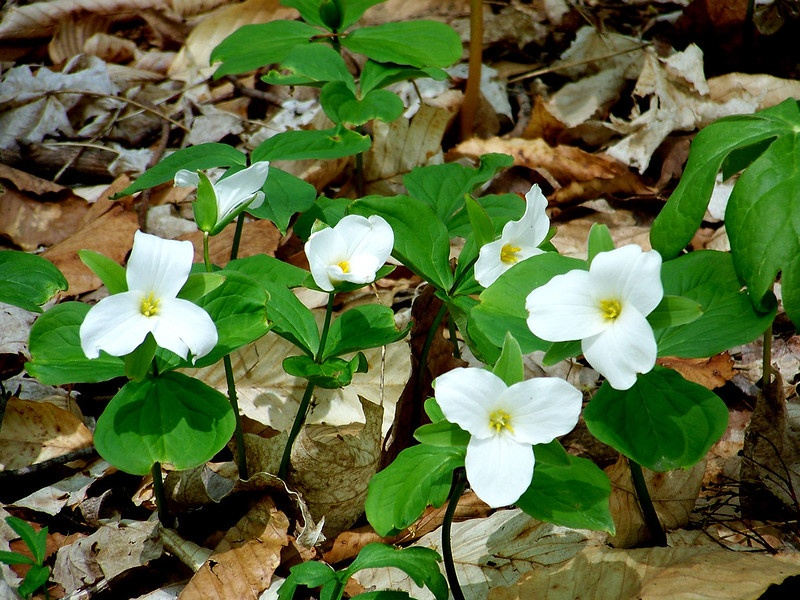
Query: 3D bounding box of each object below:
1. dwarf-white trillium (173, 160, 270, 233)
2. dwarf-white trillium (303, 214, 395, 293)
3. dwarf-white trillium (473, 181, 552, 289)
[{"bbox_3d":[-0.868,-0.428,4.003,0.352,0.355,0.247,4,81,7],"label":"dwarf-white trillium"},{"bbox_3d":[-0.247,-0.267,3.985,0.422,0.324,0.200,-22,88,-44],"label":"dwarf-white trillium"},{"bbox_3d":[0.520,-0.275,4.013,0.316,0.501,0.145,-4,19,-35],"label":"dwarf-white trillium"}]
